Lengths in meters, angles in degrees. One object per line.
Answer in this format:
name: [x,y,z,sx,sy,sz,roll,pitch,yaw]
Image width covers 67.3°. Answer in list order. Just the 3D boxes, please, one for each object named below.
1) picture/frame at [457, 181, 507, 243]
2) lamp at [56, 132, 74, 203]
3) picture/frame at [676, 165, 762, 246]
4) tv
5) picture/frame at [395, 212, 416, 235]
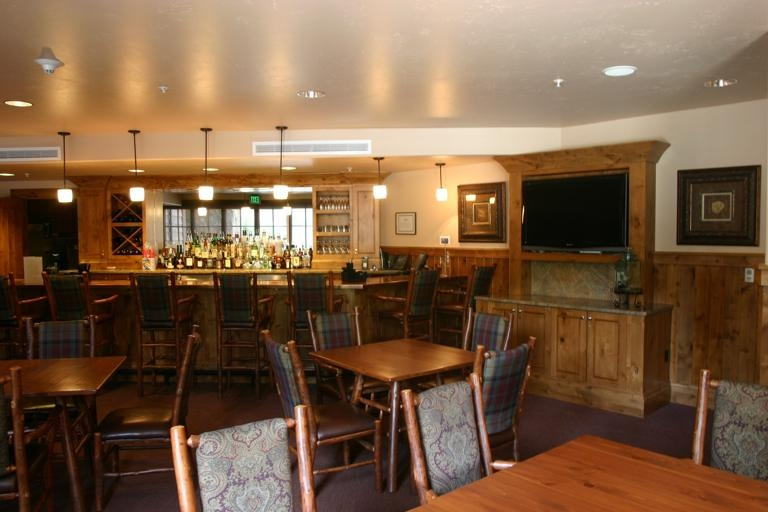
picture/frame: [1.619,-0.724,9.332,1.126,1.223,0.131,0,-1,42]
lamp: [-4.596,-1.299,8.392,0.256,1.000,0.243,8,10,17]
picture/frame: [3.660,-0.554,6.272,0.967,1.086,0.120,2,-1,36]
tv: [2.317,-0.550,6.896,1.071,0.734,0.142,-2,-2,35]
picture/frame: [0.421,-0.607,10.510,0.463,0.389,0.030,3,8,43]
